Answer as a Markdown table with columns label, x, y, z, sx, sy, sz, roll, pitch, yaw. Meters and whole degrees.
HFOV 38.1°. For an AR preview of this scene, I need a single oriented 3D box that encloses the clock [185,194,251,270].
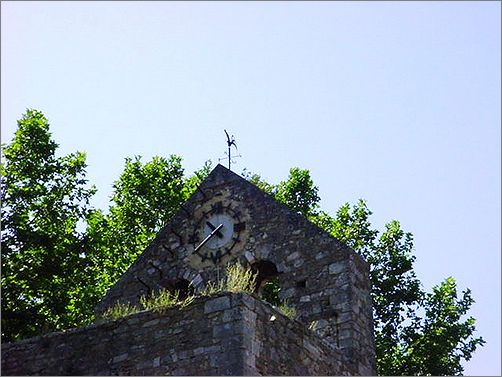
| label | x | y | z | sx | sy | sz | roll | pitch | yaw |
| --- | --- | --- | --- | --- | --- | --- | --- | --- | --- |
| clock | -0.896 | 1.351 | 21.148 | 1.808 | 2.195 | 0.177 | -17 | -45 | 16 |
